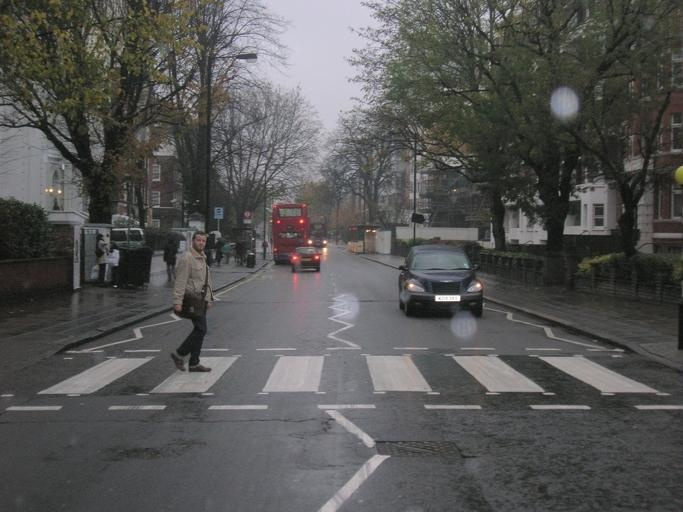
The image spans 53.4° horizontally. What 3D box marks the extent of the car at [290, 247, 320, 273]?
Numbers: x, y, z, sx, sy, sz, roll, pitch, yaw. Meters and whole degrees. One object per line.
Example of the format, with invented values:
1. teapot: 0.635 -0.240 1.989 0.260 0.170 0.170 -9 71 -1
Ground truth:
1. car: -2.081 0.189 39.354 1.615 1.383 1.983 0 2 -6

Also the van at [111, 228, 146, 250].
1. van: -11.414 -0.934 36.416 1.419 1.374 2.489 0 -4 -6

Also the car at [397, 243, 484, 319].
1. car: 2.623 0.675 18.107 1.977 1.817 2.132 0 2 0

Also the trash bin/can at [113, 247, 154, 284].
1. trash bin/can: -7.540 0.396 24.614 1.311 1.688 1.259 5 0 -21

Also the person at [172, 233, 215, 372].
1. person: -2.498 0.748 11.425 0.682 2.334 0.967 -1 2 -13

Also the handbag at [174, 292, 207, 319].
1. handbag: -2.467 0.820 11.161 0.476 0.502 0.377 3 7 6

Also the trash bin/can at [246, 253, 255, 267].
1. trash bin/can: -5.558 0.234 41.975 0.674 1.153 0.755 0 3 -3

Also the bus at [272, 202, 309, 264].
1. bus: -3.783 -1.909 49.992 2.483 3.907 1.243 0 2 -3
